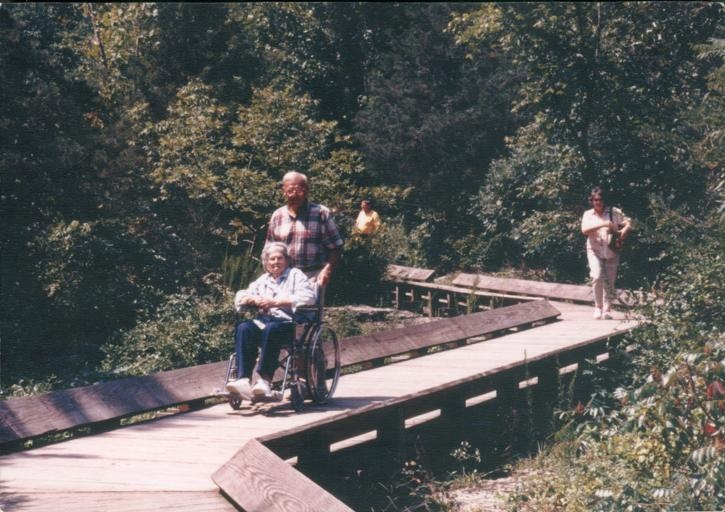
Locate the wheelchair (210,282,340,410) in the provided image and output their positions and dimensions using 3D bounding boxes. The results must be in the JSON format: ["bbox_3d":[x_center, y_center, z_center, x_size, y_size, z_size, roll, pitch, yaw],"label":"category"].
[{"bbox_3d":[-1.074,1.156,11.313,1.611,1.480,1.787,-1,0,-2],"label":"wheelchair"}]
